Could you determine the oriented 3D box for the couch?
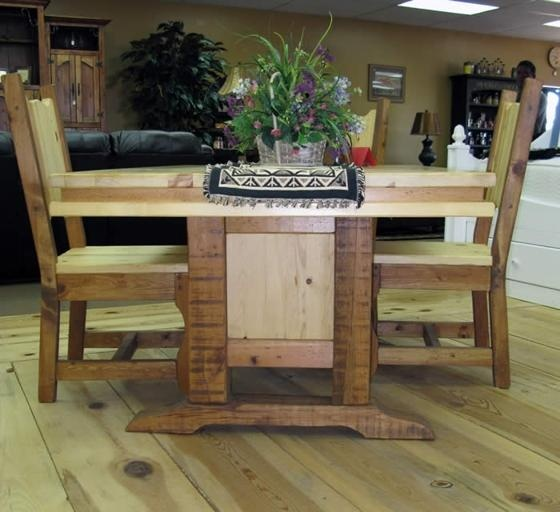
[{"bbox_3d":[-1.365,-0.413,4.348,1.557,1.067,1.198,-3,8,-22],"label":"couch"}]

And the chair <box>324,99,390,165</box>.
[{"bbox_3d":[0.404,-0.503,2.576,0.207,0.282,0.183,-6,35,28],"label":"chair"}]

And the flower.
[{"bbox_3d":[0.045,-0.479,1.651,0.418,0.390,0.343,0,11,-2],"label":"flower"}]
